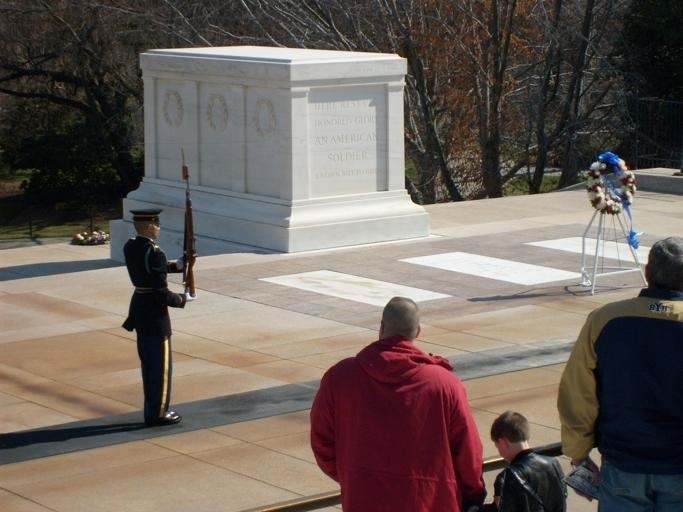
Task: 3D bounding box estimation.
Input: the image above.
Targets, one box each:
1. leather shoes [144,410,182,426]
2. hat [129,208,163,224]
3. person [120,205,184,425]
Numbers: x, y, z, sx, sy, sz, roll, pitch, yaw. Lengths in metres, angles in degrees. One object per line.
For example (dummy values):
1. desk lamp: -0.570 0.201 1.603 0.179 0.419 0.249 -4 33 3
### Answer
1. leather shoes: -1.557 1.443 8.871 0.239 0.095 0.124 -9 5 -9
2. hat: -1.755 -0.359 9.029 0.283 0.109 0.272 -1 3 -11
3. person: -1.672 0.517 9.022 0.572 1.833 0.765 -5 13 -11
